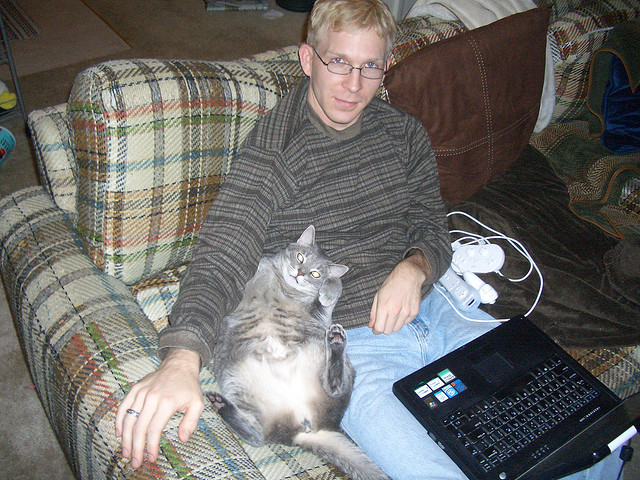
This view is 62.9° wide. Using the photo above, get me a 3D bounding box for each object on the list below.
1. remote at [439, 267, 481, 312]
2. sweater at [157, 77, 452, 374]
[{"bbox_3d":[0.472,0.172,1.780,0.149,0.109,0.159,-14,32,-31],"label":"remote"},{"bbox_3d":[-0.019,-0.098,1.682,0.818,0.329,0.954,12,76,-22],"label":"sweater"}]
